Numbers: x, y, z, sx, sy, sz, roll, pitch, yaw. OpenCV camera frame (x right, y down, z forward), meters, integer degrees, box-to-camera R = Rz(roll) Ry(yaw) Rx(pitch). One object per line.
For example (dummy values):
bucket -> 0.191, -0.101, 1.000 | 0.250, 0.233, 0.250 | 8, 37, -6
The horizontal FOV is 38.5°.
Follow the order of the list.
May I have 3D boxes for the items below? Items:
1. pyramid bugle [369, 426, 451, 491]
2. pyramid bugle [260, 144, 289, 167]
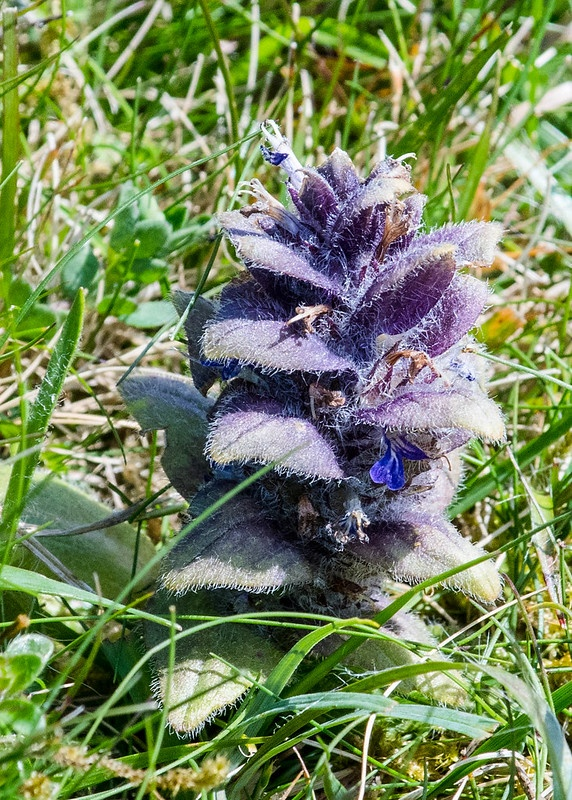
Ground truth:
pyramid bugle -> 0.201, 0.093, 1.371 | 0.162, 0.102, 0.051 | 18, 22, -42
pyramid bugle -> -0.022, -0.473, 1.579 | 0.026, 0.041, 0.068 | -11, 31, -38
